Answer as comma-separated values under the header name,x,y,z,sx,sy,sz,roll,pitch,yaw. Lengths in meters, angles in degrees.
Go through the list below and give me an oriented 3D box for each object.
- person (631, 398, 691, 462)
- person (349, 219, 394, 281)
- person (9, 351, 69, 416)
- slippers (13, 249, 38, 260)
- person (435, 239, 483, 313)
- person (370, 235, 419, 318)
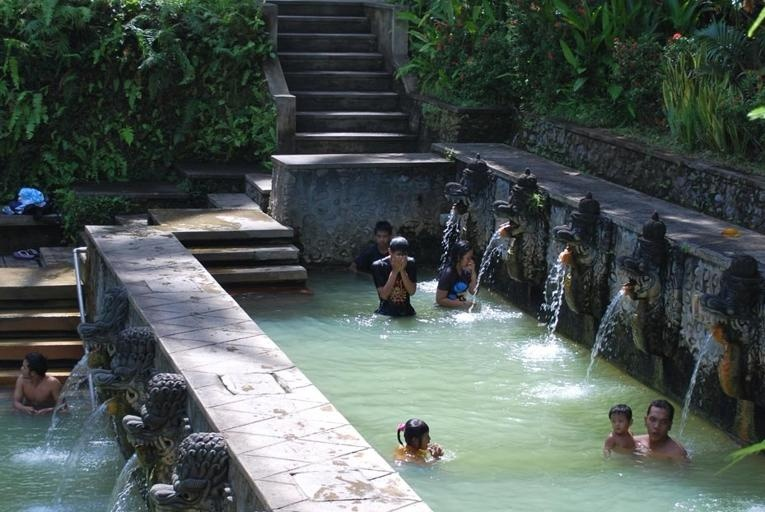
name,x,y,z,sx,sy,sz,roll,pitch,yaw
person,2.752,1.763,7.623,0.357,0.558,0.780,16,-8,-43
person,-0.042,-0.024,12.237,1.019,0.912,0.613,3,8,16
person,-4.457,1.688,10.019,0.649,0.765,0.524,1,2,1
slippers,-6.085,-0.013,13.162,0.344,0.108,0.247,4,14,20
person,1.100,0.279,11.071,0.663,0.951,0.431,-6,14,-16
person,0.156,0.294,10.693,0.582,1.107,0.400,-1,13,7
